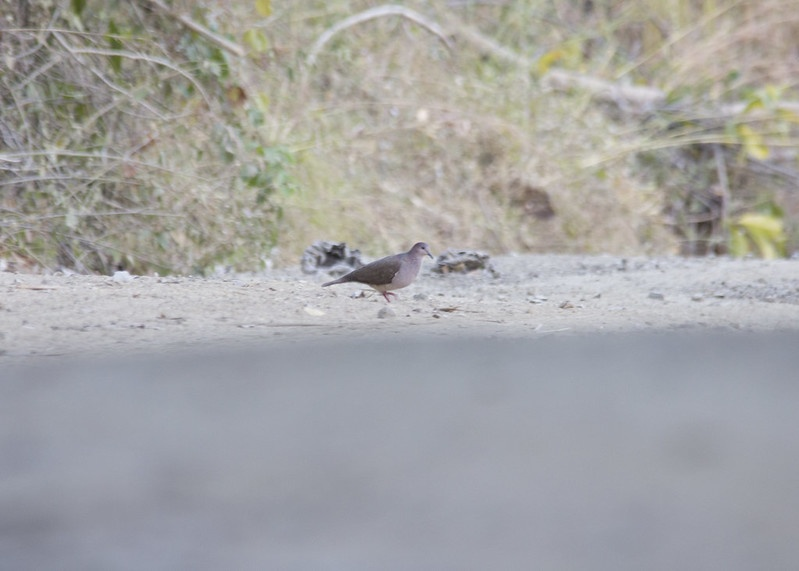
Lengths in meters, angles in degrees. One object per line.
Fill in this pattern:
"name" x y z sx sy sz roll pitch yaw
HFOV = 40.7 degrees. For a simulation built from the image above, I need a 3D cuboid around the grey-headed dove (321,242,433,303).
"grey-headed dove" -0.141 -0.084 7.596 0.866 0.341 0.228 -2 6 15
